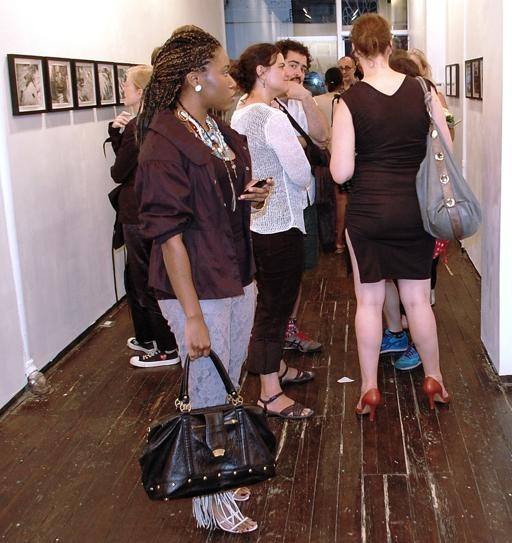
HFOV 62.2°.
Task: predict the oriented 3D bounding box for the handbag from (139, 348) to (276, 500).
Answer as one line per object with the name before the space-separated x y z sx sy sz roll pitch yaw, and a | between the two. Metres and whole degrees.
handbag | -0.106 0.367 0.990 0.332 0.356 0.104 -7 9 -20

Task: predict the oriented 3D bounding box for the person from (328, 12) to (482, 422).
person | 0.685 -0.203 2.000 0.629 1.902 0.365 -1 9 16

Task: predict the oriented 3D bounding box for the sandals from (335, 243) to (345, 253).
sandals | 1.107 -0.304 5.615 0.103 0.116 0.109 0 -9 2

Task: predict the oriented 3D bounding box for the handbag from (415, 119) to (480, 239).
handbag | 0.830 -0.388 1.862 0.270 0.506 0.178 -7 10 -24

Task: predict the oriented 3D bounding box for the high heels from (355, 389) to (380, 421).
high heels | 0.571 0.682 2.160 0.076 0.172 0.172 -5 26 -7

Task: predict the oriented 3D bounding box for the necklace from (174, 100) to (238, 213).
necklace | -0.128 -0.312 1.162 0.060 0.240 0.167 -39 42 -10

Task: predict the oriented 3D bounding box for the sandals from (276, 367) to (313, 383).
sandals | 0.243 0.646 2.649 0.228 0.103 0.088 -7 9 -5

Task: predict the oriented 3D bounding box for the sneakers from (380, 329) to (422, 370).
sneakers | 0.961 0.518 2.819 0.380 0.187 0.136 2 5 -8
